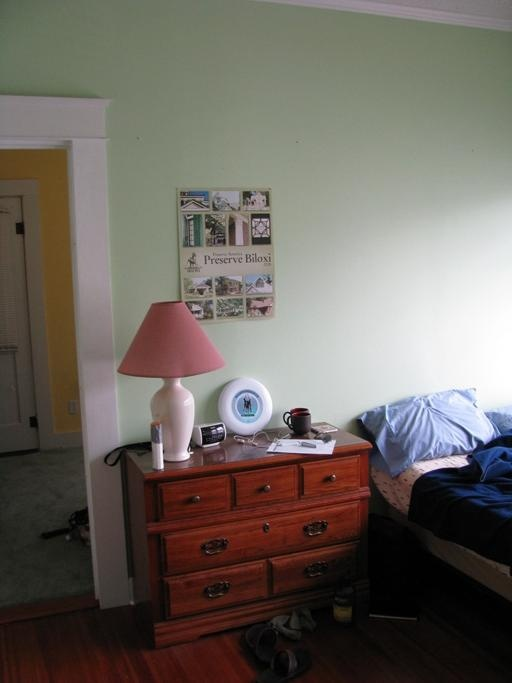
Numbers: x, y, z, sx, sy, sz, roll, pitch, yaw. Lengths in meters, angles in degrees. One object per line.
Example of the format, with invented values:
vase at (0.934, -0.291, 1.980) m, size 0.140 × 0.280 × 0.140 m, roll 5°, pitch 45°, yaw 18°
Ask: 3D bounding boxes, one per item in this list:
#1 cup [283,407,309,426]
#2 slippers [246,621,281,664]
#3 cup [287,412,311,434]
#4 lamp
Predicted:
cup at (0.170, 0.315, 2.343) m, size 0.104 × 0.075 × 0.062 m, roll -6°, pitch 5°, yaw -9°
slippers at (0.026, 1.007, 1.920) m, size 0.100 × 0.068 × 0.158 m, roll -3°, pitch 5°, yaw 5°
cup at (0.178, 0.334, 2.270) m, size 0.063 × 0.074 × 0.098 m, roll 0°, pitch -1°, yaw -29°
lamp at (-0.288, 0.143, 1.979) m, size 0.325 × 0.559 × 0.235 m, roll -9°, pitch 10°, yaw -40°
